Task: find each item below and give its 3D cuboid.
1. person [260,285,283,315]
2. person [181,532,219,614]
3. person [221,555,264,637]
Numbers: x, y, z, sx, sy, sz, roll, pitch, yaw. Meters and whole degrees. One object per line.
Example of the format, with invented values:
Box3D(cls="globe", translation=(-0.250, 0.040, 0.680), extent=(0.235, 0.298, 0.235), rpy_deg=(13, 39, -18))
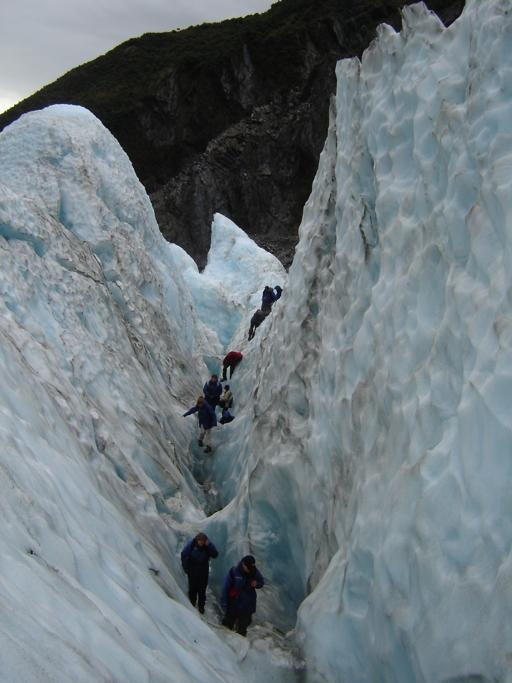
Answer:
Box3D(cls="person", translation=(0.191, -0.622, 11.878), extent=(0.287, 0.412, 0.988), rpy_deg=(-11, 11, 1))
Box3D(cls="person", translation=(-0.437, 1.716, 6.478), extent=(0.243, 0.822, 0.223), rpy_deg=(7, 26, 6))
Box3D(cls="person", translation=(-0.112, 1.842, 6.119), extent=(0.238, 0.868, 0.254), rpy_deg=(2, 23, -15))
